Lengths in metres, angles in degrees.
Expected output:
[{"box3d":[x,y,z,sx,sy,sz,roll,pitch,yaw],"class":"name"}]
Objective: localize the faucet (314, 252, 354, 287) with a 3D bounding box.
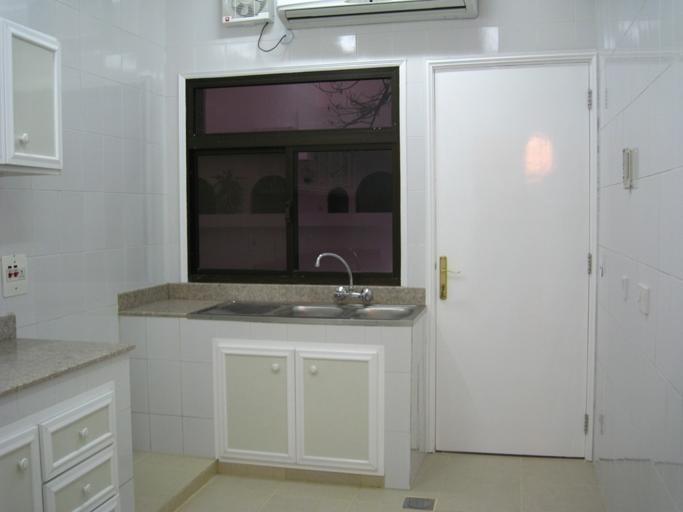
[{"box3d":[-0.054,0.076,3.689,0.269,0.231,0.262,1,14,-3],"class":"faucet"}]
